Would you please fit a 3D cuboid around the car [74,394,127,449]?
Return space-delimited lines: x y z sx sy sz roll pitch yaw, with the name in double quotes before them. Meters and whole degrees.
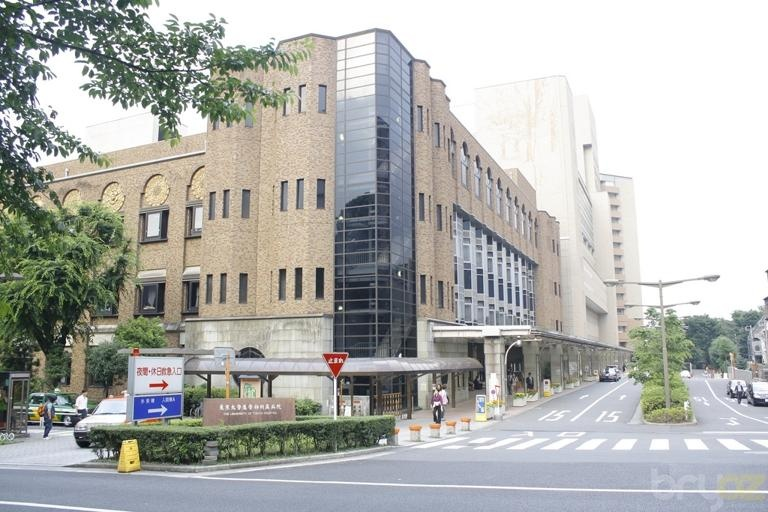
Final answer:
"car" -13.136 7.534 33.036 2.090 2.479 4.375 6 -19 -21

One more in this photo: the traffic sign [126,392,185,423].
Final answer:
"traffic sign" -9.660 6.317 29.943 0.457 1.308 2.455 -15 -22 38

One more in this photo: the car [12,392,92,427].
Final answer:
"car" -20.644 9.573 44.894 4.399 1.910 2.558 0 -7 -2
